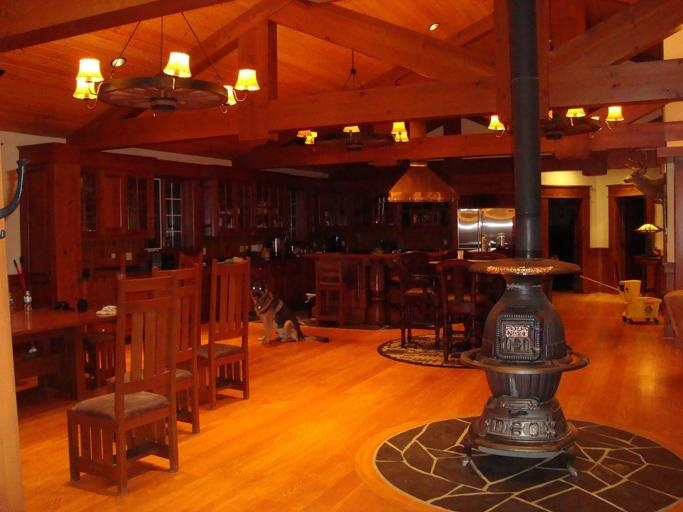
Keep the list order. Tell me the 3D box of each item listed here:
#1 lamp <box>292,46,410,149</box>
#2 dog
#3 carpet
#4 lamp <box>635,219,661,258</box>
[{"bbox_3d":[0.160,-2.229,8.234,1.532,1.538,3.312,0,6,5],"label":"lamp"},{"bbox_3d":[-0.744,0.854,8.275,1.227,0.811,0.358,11,-11,-20],"label":"dog"},{"bbox_3d":[1.054,1.196,7.573,1.107,0.008,1.120,11,-31,-31],"label":"carpet"},{"bbox_3d":[5.922,-0.318,11.182,0.486,0.590,0.479,-2,3,35],"label":"lamp"}]
